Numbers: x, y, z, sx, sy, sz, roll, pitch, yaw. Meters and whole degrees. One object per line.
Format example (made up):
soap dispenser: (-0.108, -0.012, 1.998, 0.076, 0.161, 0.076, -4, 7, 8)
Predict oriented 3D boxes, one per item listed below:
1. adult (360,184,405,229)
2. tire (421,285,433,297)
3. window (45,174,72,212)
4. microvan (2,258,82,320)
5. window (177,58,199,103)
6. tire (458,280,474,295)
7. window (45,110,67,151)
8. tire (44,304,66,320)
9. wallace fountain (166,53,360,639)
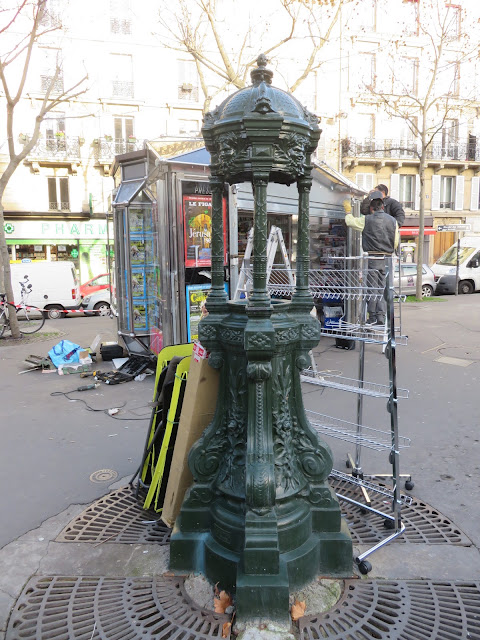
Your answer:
adult: (2.324, -1.717, 8.419, 0.694, 0.857, 0.502, -5, 8, 13)
tire: (7.451, -1.160, 20.453, 0.556, 0.527, 0.179, -9, 9, -36)
window: (-9.674, -6.631, 27.242, 1.102, 1.726, 0.543, -4, 8, -18)
microvan: (-6.696, -1.025, 17.970, 3.509, 1.917, 2.090, -1, 8, -7)
window: (-3.029, -13.646, 29.553, 1.646, 2.175, 1.585, -10, 30, -32)
tire: (9.858, -1.415, 22.134, 1.029, 0.589, 0.311, -7, 9, -37)
window: (-9.696, -9.502, 26.856, 1.047, 1.765, 0.706, -3, 8, -15)
tire: (-6.115, -0.282, 16.771, 0.560, 0.531, 0.210, -4, -3, 7)
wallace fountain: (0.113, 0.006, 2.913, 1.039, 2.906, 1.155, 1, 8, 18)
